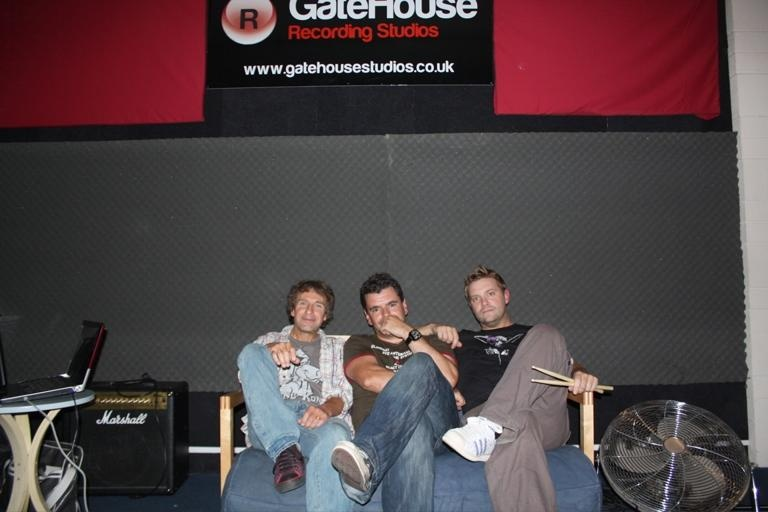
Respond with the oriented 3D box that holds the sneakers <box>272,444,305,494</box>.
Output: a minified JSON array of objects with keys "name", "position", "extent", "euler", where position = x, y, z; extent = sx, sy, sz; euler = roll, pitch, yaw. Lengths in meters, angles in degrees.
[{"name":"sneakers","position":[-0.636,1.401,4.629],"extent":[0.205,0.300,0.129],"euler":[0,-3,-14]}]

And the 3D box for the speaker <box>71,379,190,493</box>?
[{"name":"speaker","position":[-2.156,1.449,5.344],"extent":[0.641,0.851,0.894],"euler":[-14,-21,26]}]

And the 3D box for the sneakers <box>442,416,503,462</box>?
[{"name":"sneakers","position":[0.618,1.199,4.611],"extent":[0.195,0.221,0.468],"euler":[47,13,35]}]

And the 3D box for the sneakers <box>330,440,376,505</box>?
[{"name":"sneakers","position":[-0.178,1.392,4.414],"extent":[0.224,0.389,0.135],"euler":[13,41,44]}]
